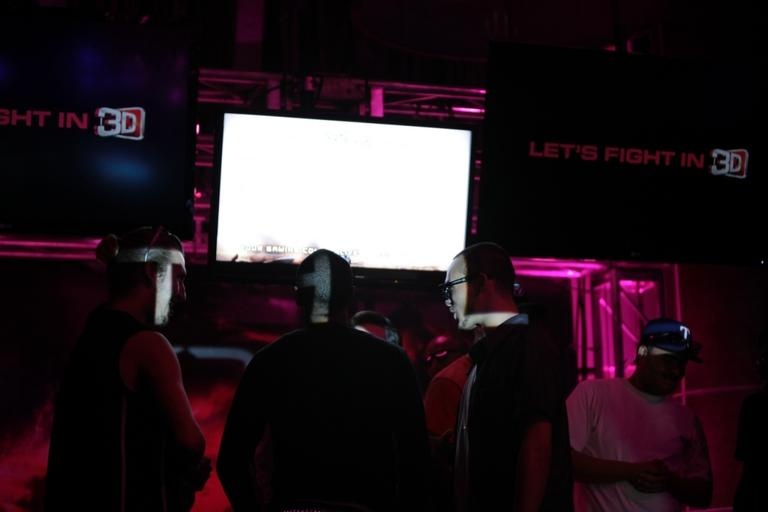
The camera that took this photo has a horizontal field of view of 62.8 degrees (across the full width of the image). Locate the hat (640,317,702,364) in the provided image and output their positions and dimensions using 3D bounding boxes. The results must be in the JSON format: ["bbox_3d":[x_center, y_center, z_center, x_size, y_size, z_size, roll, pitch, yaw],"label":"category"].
[{"bbox_3d":[1.880,0.551,4.157,0.346,0.205,0.270,1,-22,36],"label":"hat"}]
